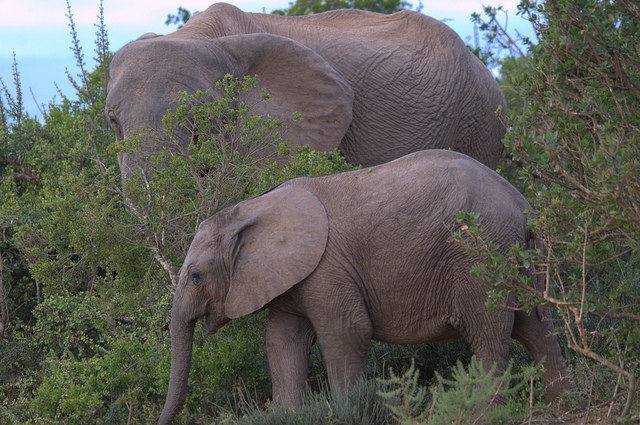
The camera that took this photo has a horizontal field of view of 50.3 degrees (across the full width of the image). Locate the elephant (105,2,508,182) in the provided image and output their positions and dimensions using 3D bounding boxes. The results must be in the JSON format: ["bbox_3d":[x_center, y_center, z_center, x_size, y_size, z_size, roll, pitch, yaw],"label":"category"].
[{"bbox_3d":[-0.585,-2.166,11.682,5.528,3.719,3.545,-5,8,-19],"label":"elephant"}]
